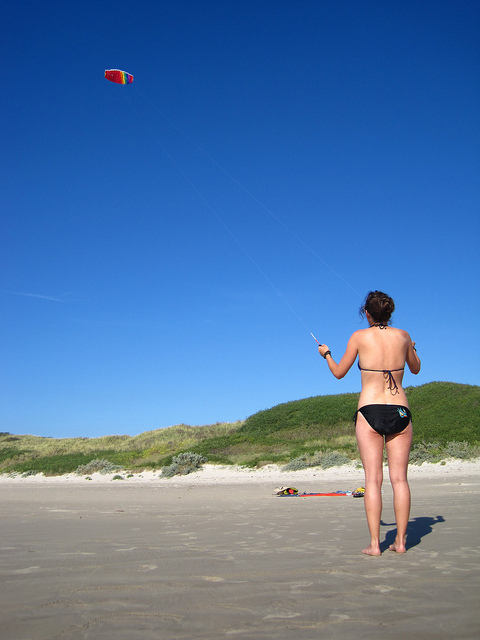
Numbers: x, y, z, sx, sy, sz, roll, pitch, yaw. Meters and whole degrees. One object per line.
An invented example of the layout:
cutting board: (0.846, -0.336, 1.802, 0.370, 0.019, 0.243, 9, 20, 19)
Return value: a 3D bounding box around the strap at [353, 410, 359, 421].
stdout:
strap: (0.888, 0.735, 4.743, 0.036, 0.038, 0.132, -13, 24, 28)
